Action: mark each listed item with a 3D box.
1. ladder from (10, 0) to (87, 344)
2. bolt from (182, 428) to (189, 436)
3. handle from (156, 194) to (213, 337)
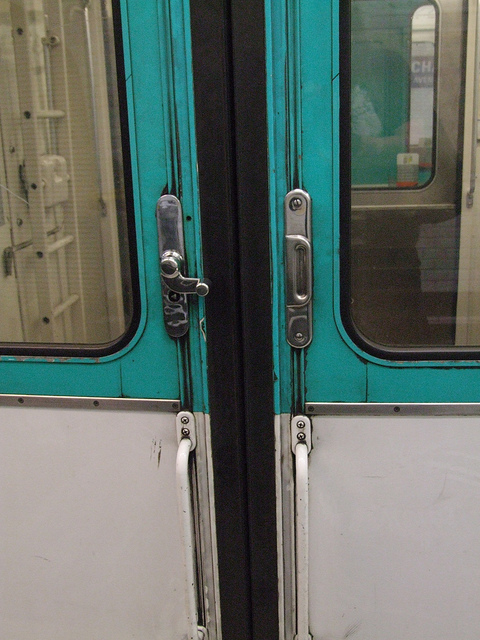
[{"bbox_3d":[-0.444,-0.333,1.672,0.135,0.790,0.097,2,20,17],"label":"ladder"},{"bbox_3d":[-0.130,0.267,1.693,0.015,0.016,0.006,1,1,14],"label":"bolt"},{"bbox_3d":[-0.127,-0.118,1.608,0.128,0.321,0.089,0,20,12],"label":"handle"}]
